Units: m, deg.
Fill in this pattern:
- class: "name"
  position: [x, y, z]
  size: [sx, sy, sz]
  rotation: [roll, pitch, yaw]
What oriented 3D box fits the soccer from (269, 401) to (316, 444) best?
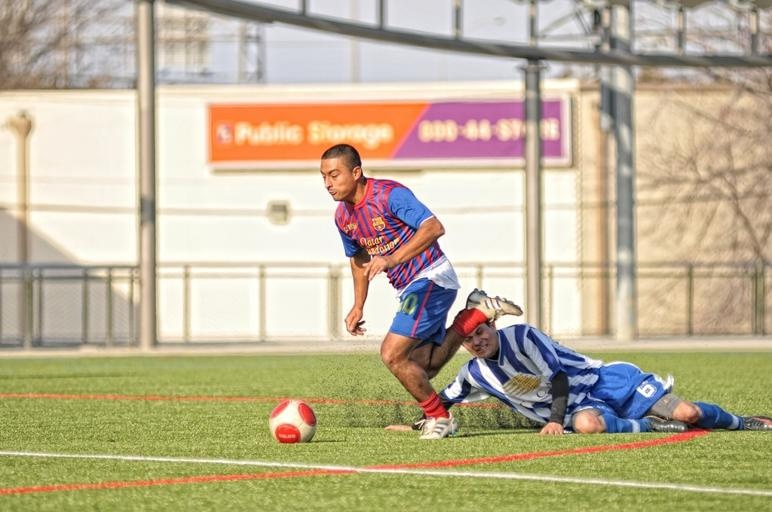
- class: "soccer"
  position: [-1.519, 2.775, 31.618]
  size: [0.839, 0.720, 0.712]
  rotation: [6, 37, 0]
